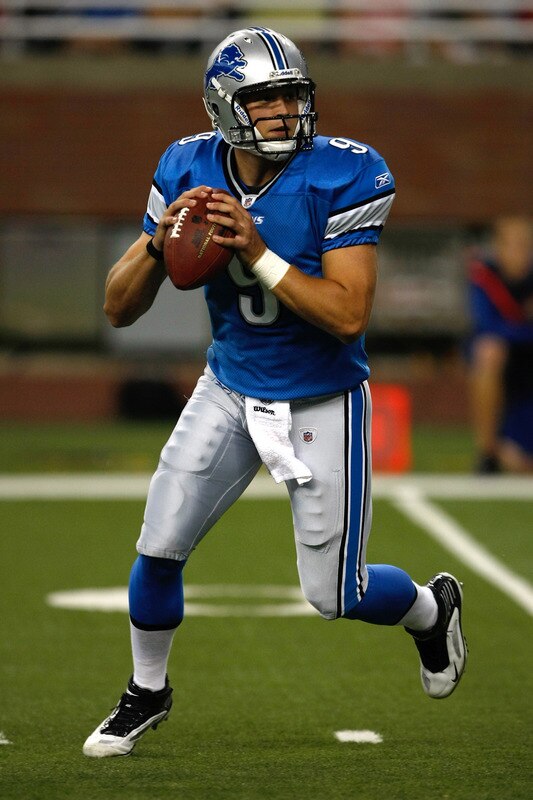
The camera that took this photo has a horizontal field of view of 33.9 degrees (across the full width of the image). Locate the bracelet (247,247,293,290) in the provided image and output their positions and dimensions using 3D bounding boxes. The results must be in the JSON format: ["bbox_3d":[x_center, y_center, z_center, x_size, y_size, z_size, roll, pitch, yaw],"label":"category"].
[{"bbox_3d":[0.006,-0.248,1.656,0.041,0.060,0.082,40,-6,-8],"label":"bracelet"}]

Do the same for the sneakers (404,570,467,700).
[{"bbox_3d":[0.435,0.568,2.211,0.127,0.338,0.156,-22,-46,33],"label":"sneakers"}]

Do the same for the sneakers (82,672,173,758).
[{"bbox_3d":[-0.282,0.677,1.945,0.087,0.119,0.254,28,42,27],"label":"sneakers"}]

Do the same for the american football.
[{"bbox_3d":[-0.137,-0.307,1.733,0.134,0.168,0.146,0,2,-6],"label":"american football"}]

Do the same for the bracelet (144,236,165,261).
[{"bbox_3d":[-0.236,-0.319,1.827,0.043,0.044,0.032,47,5,-7],"label":"bracelet"}]

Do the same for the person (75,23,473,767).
[{"bbox_3d":[0.048,-0.012,1.902,0.887,1.562,0.497,0,3,-11],"label":"person"}]

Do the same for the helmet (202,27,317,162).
[{"bbox_3d":[-0.092,-0.620,1.801,0.240,0.233,0.302,-10,27,-19],"label":"helmet"}]
